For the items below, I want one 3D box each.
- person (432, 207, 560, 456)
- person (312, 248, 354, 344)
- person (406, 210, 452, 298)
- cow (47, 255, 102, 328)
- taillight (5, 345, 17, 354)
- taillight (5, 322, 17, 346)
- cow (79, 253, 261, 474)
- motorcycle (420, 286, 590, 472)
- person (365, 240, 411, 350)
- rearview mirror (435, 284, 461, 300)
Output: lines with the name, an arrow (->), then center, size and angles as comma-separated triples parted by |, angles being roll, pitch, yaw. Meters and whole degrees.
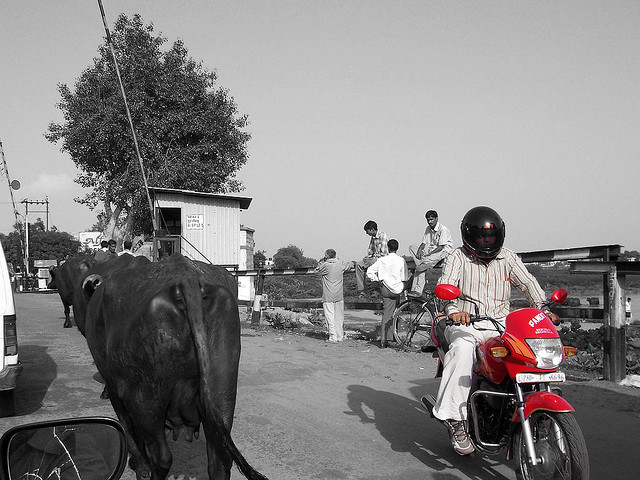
person -> 1.619, 0.753, 4.794 | 1.120, 2.312, 1.115 | 3, -5, -29
person -> 0.293, 1.245, 11.380 | 0.750, 2.030, 0.504 | 0, 0, -10
person -> 2.294, 0.270, 10.752 | 1.018, 1.880, 0.691 | 7, -6, -36
cow -> -4.735, 1.028, 9.942 | 1.905, 1.347, 0.555 | 1, 5, 36
taillight -> -3.659, 1.295, 6.004 | 0.080, 0.092, 0.059 | 0, -6, -17
taillight -> -3.673, 1.113, 6.022 | 0.068, 0.274, 0.133 | 1, 0, 32
cow -> -1.030, 0.876, 3.675 | 1.416, 1.545, 0.634 | 0, 0, 27
motorcycle -> 1.855, 1.367, 4.762 | 0.846, 1.438, 1.951 | 3, -8, -12
person -> 1.492, 1.057, 10.969 | 0.804, 2.402, 0.707 | -2, 20, -2
rearview mirror -> 1.068, 0.425, 4.237 | 0.161, 0.123, 0.119 | 6, 6, 13
